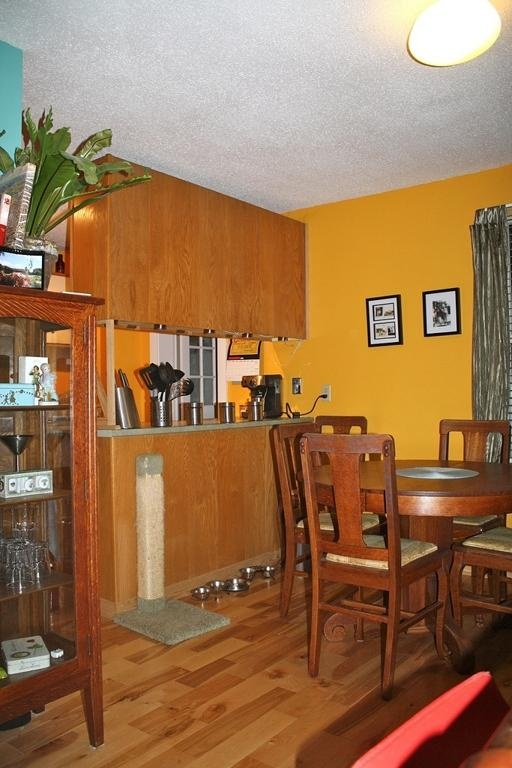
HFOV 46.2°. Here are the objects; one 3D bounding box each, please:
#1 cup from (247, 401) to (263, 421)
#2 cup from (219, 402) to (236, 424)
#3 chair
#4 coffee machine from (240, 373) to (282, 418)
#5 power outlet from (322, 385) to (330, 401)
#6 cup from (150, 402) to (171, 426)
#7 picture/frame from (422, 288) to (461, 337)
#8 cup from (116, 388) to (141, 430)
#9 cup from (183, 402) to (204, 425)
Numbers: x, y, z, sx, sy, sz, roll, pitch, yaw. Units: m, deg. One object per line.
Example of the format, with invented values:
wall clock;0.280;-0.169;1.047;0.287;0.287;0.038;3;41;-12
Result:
cup;-0.006;0.180;3.976;0.120;0.124;0.098;-1;-1;5
cup;-0.184;0.183;3.748;0.115;0.129;0.114;0;0;0
chair;0.491;0.660;2.656;0.794;0.940;1.364;-1;-2;0
coffee machine;0.081;0.078;4.224;0.339;0.336;0.209;8;-11;-42
power outlet;0.512;0.065;4.407;0.065;0.111;0.009;-3;-2;37
cup;-0.532;0.167;3.357;0.109;0.144;0.133;2;-5;-29
picture/frame;1.190;-0.458;3.829;0.031;0.391;0.314;-1;2;-43
cup;-0.684;0.125;3.204;0.124;0.225;0.357;-1;-2;-12
cup;-0.366;0.174;3.515;0.118;0.129;0.117;0;0;0
